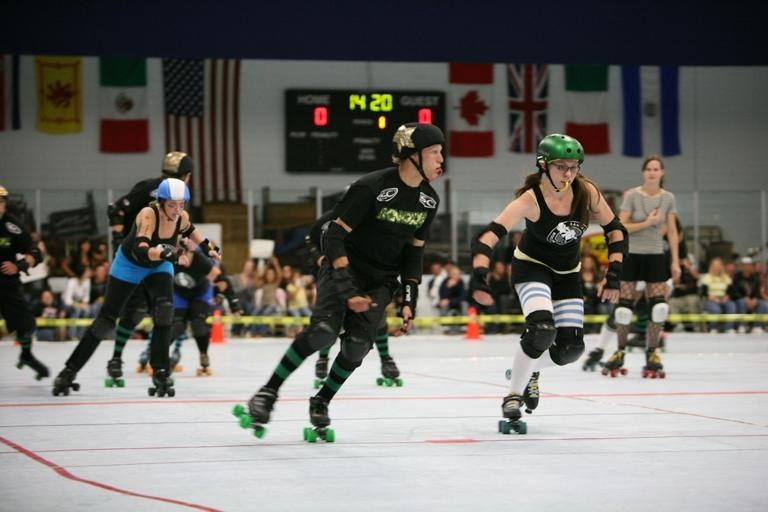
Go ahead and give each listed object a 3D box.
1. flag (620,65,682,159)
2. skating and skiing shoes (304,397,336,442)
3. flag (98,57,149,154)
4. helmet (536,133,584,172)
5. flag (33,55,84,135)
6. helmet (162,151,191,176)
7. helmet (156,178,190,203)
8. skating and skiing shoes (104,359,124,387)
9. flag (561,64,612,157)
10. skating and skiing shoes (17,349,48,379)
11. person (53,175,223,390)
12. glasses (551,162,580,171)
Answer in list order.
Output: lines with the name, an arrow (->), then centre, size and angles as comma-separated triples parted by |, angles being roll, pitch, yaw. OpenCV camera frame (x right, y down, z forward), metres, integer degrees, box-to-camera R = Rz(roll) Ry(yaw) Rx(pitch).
flag -> 5.570, -3.019, 23.600 | 1.450, 1.898, 0.283 | 1, 7, -21
skating and skiing shoes -> -0.652, 1.621, 11.182 | 0.314, 0.422, 0.284 | 2, 6, -6
flag -> -5.283, -3.059, 22.751 | 1.235, 2.180, 0.063 | 2, 6, 17
helmet -> 1.773, -1.072, 11.531 | 0.418, 0.310, 0.486 | -2, 11, -27
flag -> -6.568, -3.215, 22.601 | 0.934, 1.515, 0.711 | 1, 7, -14
helmet -> -2.407, -1.071, 13.244 | 0.257, 0.173, 0.343 | 17, 24, 25
helmet -> -2.390, -0.746, 12.722 | 0.316, 0.263, 0.332 | 6, 7, 25
skating and skiing shoes -> -3.314, 1.440, 13.735 | 0.190, 0.250, 0.392 | 1, -10, -16
flag -> 4.250, -3.111, 23.449 | 1.147, 1.929, 0.218 | 3, -11, -8
skating and skiing shoes -> -4.535, 1.398, 14.396 | 0.468, 0.195, 0.157 | 36, 15, 1
person -> -2.740, 0.358, 12.928 | 1.607, 2.530, 0.939 | 2, 7, -10
glasses -> 1.861, -0.892, 11.388 | 0.288, 0.080, 0.116 | 0, 7, -27
